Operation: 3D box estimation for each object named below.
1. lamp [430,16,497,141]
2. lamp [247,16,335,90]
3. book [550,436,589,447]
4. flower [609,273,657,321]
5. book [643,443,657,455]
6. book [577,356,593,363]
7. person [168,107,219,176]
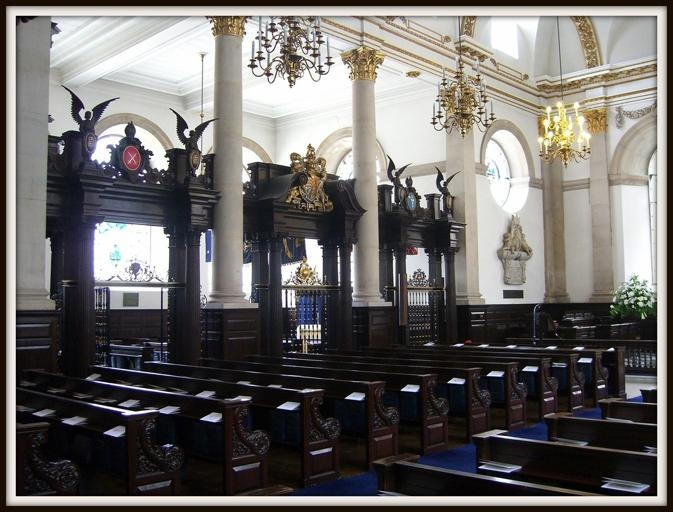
[{"bbox_3d":[2.490,-3.580,12.229,0.992,2.385,1.008,-4,-9,24],"label":"lamp"},{"bbox_3d":[-0.767,-3.673,10.216,1.183,1.597,1.151,-3,5,-41],"label":"lamp"},{"bbox_3d":[2.114,1.667,5.511,0.220,0.061,0.201,-2,-9,39],"label":"book"},{"bbox_3d":[7.942,1.104,16.413,1.046,1.248,1.685,-3,-3,32],"label":"flower"},{"bbox_3d":[2.784,1.719,5.414,0.096,0.065,0.255,-3,-3,25],"label":"book"},{"bbox_3d":[4.126,1.705,10.123,0.178,0.052,0.172,1,-1,22],"label":"book"},{"bbox_3d":[-2.506,-1.912,10.629,0.461,1.051,1.022,-1,-3,-13],"label":"person"}]
